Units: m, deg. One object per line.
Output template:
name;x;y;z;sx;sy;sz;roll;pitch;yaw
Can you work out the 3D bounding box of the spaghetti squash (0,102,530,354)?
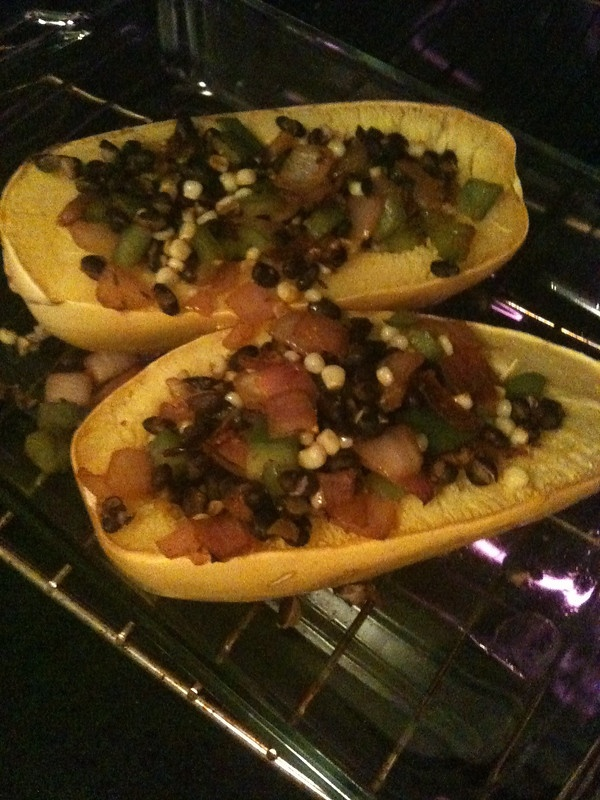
spaghetti squash;-0.004;-0.331;1.767;1.088;0.318;0.405;-6;74;-3
